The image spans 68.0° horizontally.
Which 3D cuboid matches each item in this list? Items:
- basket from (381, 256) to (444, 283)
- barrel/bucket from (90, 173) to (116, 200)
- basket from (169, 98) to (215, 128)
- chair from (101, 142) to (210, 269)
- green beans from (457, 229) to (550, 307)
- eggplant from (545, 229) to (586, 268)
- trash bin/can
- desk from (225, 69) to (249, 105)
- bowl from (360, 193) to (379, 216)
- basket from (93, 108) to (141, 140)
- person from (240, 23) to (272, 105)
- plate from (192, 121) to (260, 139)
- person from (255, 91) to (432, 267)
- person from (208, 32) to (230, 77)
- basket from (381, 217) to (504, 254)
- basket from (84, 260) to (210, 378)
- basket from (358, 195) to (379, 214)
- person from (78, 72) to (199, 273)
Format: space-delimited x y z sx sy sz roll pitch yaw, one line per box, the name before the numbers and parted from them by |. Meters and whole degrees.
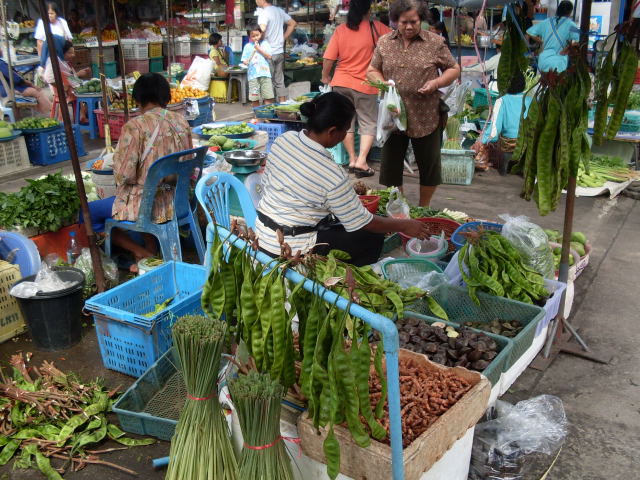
basket | 0.635 0.184 3.546 0.533 0.158 0.421 0 16 -4
barrel/bucket | -2.129 -0.528 4.815 0.277 0.314 0.279 -1 5 0
basket | -2.162 -2.282 8.540 0.609 0.295 0.886 15 31 21
chair | -1.425 -0.189 4.355 0.688 1.342 0.749 9 24 19
green beans | 1.198 0.205 3.128 0.429 0.567 0.206 -27 -14 1
eggplant | 2.170 0.071 4.195 0.366 0.190 0.852 13 22 31
trash bin/can | -1.953 0.498 3.571 0.499 0.460 0.515 -2 26 -12
desk | -2.046 -3.778 11.503 0.468 0.666 0.483 3 22 1
bowl | 0.489 -0.364 4.534 0.219 0.165 0.238 -1 11 0
basket | -3.527 -2.067 8.134 0.948 0.414 0.692 -11 23 -31
person | -1.245 -3.485 9.463 0.482 1.545 0.464 9 25 21
plate | -1.175 -1.417 6.012 0.451 0.072 0.461 20 30 39
person | 0.074 -0.320 3.539 1.099 1.420 1.024 -3 22 -13
person | -2.356 -4.244 10.906 0.393 0.938 1.095 -3 19 -11
basket | 1.144 -0.093 4.200 0.582 0.199 0.593 1 17 7
basket | -1.034 0.533 3.424 0.723 0.537 1.015 9 24 21
basket | 0.471 -0.355 4.552 0.214 0.134 0.215 -7 14 -21
person | -1.552 -0.554 4.108 0.881 1.698 0.711 -4 20 -13
